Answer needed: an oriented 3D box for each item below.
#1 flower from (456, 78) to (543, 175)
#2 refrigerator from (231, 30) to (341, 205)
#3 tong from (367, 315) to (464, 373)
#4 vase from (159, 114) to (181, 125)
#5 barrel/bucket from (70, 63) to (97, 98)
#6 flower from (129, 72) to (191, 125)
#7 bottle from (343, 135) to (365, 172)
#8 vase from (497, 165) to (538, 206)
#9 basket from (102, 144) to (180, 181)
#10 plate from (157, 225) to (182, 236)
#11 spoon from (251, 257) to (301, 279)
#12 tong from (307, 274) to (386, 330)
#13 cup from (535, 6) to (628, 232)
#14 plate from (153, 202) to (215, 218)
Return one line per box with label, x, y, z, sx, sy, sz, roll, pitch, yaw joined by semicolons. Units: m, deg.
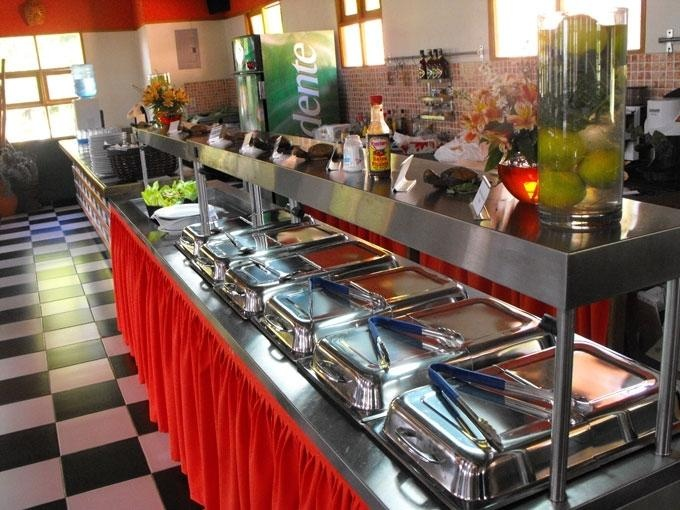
flower;0.308;-0.259;0.992;0.112;0.184;0.197;-6;19;-5
refrigerator;-0.584;-2.082;6.024;1.318;1.201;0.615;-6;19;-6
tong;0.180;0.216;1.353;0.256;0.045;0.239;-9;19;-18
vase;-1.048;-0.832;3.005;0.133;0.077;0.137;-9;22;-14
barrel/bucket;-3.707;-2.517;7.137;0.301;0.455;0.244;-18;24;-35
flower;-1.101;-0.961;3.117;0.238;0.255;0.239;5;15;19
bottle;0.036;-0.293;1.413;0.064;0.097;0.111;-4;19;0
vase;0.368;-0.149;1.021;0.080;0.056;0.079;4;25;12
basket;-1.567;-0.733;3.958;0.448;0.170;0.322;-14;22;-41
plate;-0.950;-0.143;2.754;0.094;0.036;0.204;-16;22;-34
spoon;-0.232;0.045;1.907;0.095;0.020;0.091;-13;31;-34
tong;0.004;0.152;1.581;0.171;0.041;0.175;-13;30;-26
cup;0.381;-0.204;0.779;0.139;0.332;0.064;3;21;18
plate;-0.940;-0.258;2.899;0.251;0.058;0.312;-19;24;-39
